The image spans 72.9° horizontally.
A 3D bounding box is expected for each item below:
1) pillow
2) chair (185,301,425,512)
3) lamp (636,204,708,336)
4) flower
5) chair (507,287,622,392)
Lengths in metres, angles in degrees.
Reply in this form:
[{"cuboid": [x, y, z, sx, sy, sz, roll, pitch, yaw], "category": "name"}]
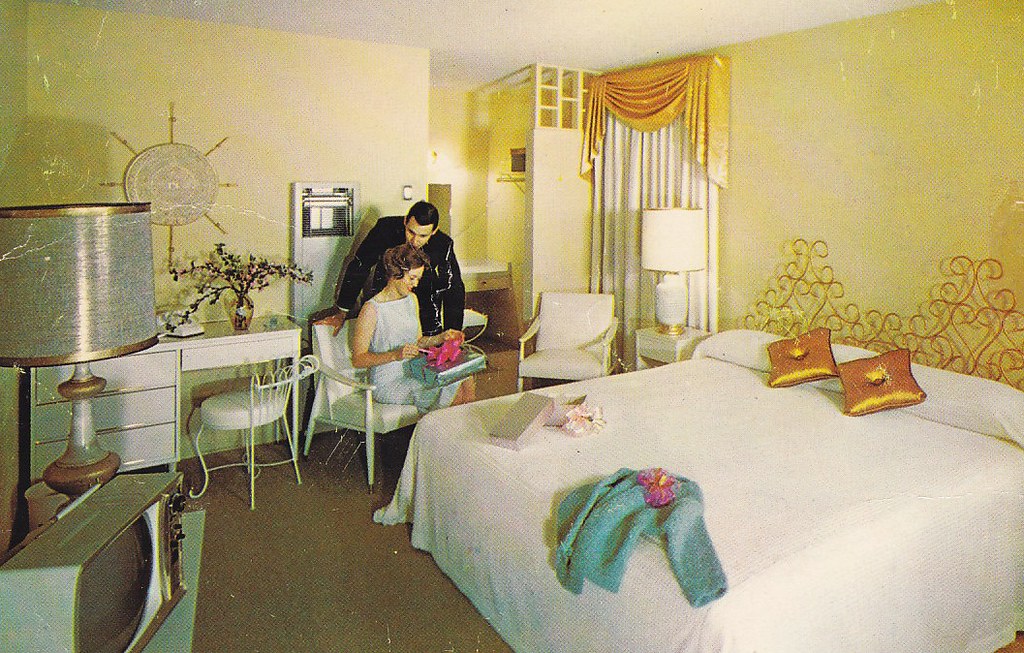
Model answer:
[{"cuboid": [1.930, 0.272, 4.080, 0.197, 0.462, 0.710, 17, -13, -17], "category": "pillow"}, {"cuboid": [-1.475, 0.517, 4.682, 1.309, 1.225, 1.065, 1, 2, -36], "category": "chair"}, {"cuboid": [1.260, -0.422, 5.372, 0.519, 0.947, 0.359, 0, 8, -1], "category": "lamp"}, {"cuboid": [-1.767, -0.294, 4.484, 0.603, 0.365, 0.613, 12, 22, 25], "category": "flower"}, {"cuboid": [0.448, 0.077, 5.516, 0.766, 0.961, 0.781, 1, 4, 10], "category": "chair"}]
